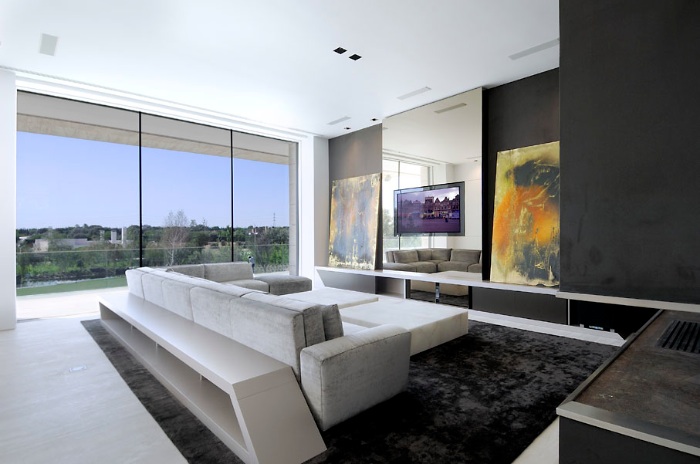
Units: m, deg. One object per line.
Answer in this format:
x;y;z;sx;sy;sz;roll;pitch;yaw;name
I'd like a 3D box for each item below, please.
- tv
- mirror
1.274;-0.346;6.755;1.339;0.808;0.035;-2;1;43;tv
1.368;-0.863;6.509;0.136;2.943;2.692;-1;0;-38;mirror
